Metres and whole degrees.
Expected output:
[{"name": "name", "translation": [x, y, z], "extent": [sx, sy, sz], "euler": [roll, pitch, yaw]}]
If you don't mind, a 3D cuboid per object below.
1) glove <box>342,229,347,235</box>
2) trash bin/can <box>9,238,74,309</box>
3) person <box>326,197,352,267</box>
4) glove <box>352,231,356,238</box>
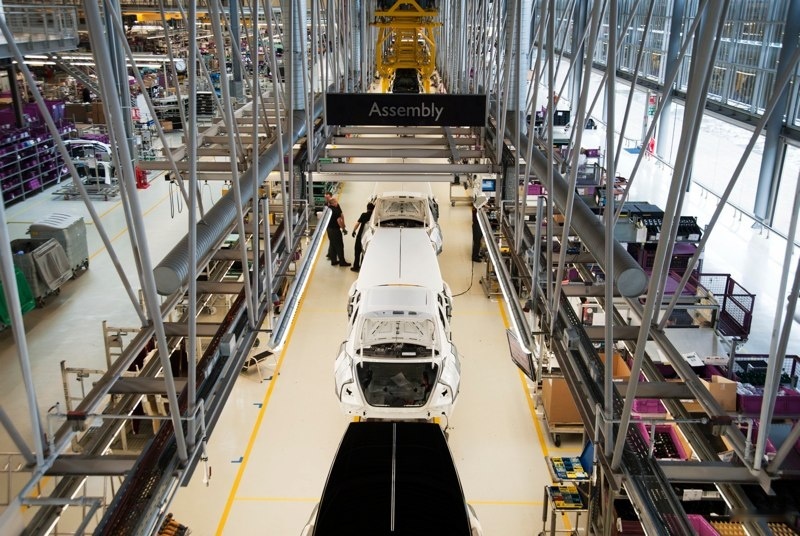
[{"name": "glove", "translation": [-1.751, -1.112, 17.822], "extent": [0.175, 0.106, 0.258], "euler": [-1, -2, 2]}, {"name": "trash bin/can", "translation": [-8.461, 0.114, 13.544], "extent": [1.037, 1.294, 1.299], "euler": [-1, 28, -3]}, {"name": "person", "translation": [-1.834, -0.955, 17.053], "extent": [0.751, 2.256, 0.792], "euler": [-18, 56, -15]}, {"name": "glove", "translation": [-1.406, -1.016, 17.209], "extent": [0.138, 0.203, 0.077], "euler": [1, -5, 2]}]
